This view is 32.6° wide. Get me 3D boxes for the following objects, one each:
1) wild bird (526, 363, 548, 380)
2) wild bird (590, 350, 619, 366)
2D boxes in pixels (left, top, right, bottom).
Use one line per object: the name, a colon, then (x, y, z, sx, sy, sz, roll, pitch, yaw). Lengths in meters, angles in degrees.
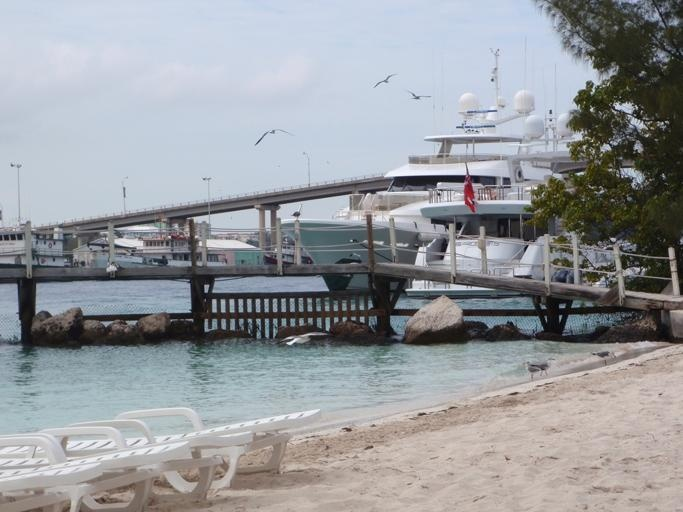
wild bird: (4.016, 2.264, 23.037, 0.417, 0.267, 0.598, -2, 6, 6)
wild bird: (5.572, 2.048, 23.922, 0.500, 0.150, 1.012, -1, 5, 7)
